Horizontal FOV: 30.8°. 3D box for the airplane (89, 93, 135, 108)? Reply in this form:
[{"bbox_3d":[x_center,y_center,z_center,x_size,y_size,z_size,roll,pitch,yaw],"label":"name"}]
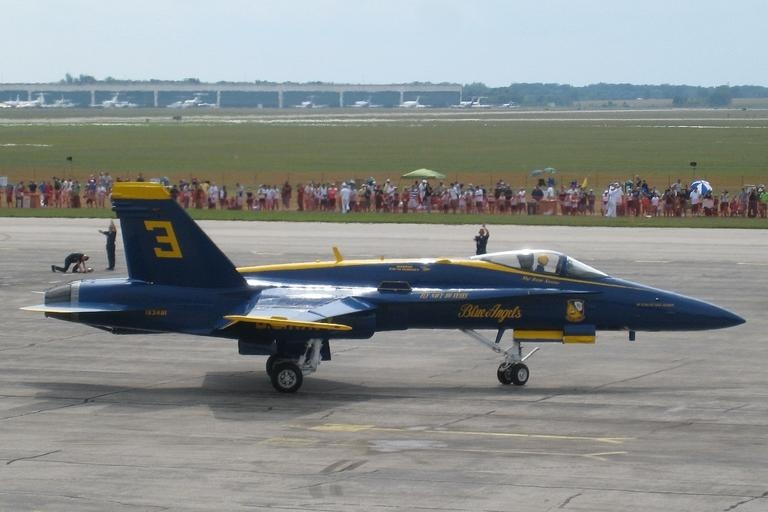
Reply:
[{"bbox_3d":[-60.647,-35.385,316.695,7.629,3.813,38.998,-2,6,-11],"label":"airplane"}]

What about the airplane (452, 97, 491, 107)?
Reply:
[{"bbox_3d":[24.252,-42.152,382.367,9.691,3.790,98.458,0,6,5],"label":"airplane"}]

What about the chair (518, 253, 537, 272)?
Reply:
[{"bbox_3d":[4.996,0.253,48.557,0.929,0.648,0.441,2,-19,-4],"label":"chair"}]
